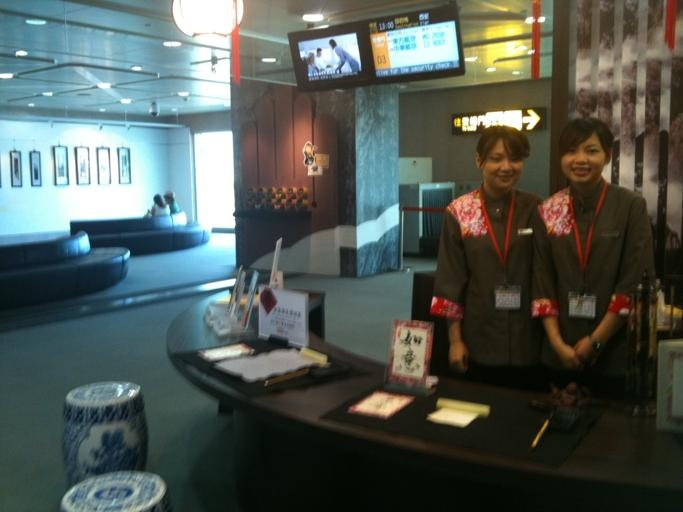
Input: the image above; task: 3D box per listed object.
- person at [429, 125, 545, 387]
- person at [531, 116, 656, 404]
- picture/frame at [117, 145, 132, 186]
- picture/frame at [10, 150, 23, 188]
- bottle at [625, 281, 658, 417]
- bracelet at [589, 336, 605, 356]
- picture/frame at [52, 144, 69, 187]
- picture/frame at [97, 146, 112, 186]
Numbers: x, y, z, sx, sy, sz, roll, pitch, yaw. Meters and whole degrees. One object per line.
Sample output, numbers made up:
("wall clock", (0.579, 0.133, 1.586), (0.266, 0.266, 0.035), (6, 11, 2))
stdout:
("person", (0.663, 0.168, 2.238), (0.470, 1.345, 0.403), (-2, 18, 11))
("person", (0.940, 0.020, 1.961), (0.420, 1.069, 0.288), (4, 8, 33))
("picture/frame", (-6.146, -2.513, 14.675), (0.354, 1.029, 0.170), (-2, 7, -19))
("picture/frame", (-7.322, -1.949, 11.650), (0.242, 0.855, 0.931), (-4, 9, -31))
("bottle", (1.017, 0.305, 1.741), (0.077, 0.455, 0.076), (0, 6, 0))
("bracelet", (0.948, 0.336, 1.924), (0.043, 0.071, 0.069), (15, 62, 25))
("picture/frame", (-7.136, -2.271, 13.120), (0.288, 1.008, 0.508), (4, 8, 30))
("picture/frame", (-6.587, -2.479, 14.300), (0.080, 0.947, 0.487), (4, 9, 18))
